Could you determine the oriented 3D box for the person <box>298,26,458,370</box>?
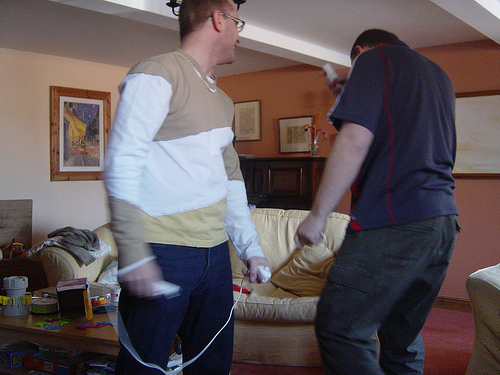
[{"bbox_3d":[0.497,0.086,1.600,0.611,1.362,0.316,1,3,6],"label":"person"}]

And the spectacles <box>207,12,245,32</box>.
[{"bbox_3d":[-0.065,-0.629,1.550,0.078,0.024,0.075,12,-5,-11],"label":"spectacles"}]

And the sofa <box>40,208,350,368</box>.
[{"bbox_3d":[-0.266,0.563,2.146,1.133,0.548,0.554,-3,-14,13],"label":"sofa"}]

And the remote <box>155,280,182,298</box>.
[{"bbox_3d":[-0.260,0.322,1.286,0.072,0.020,0.070,5,2,8],"label":"remote"}]
